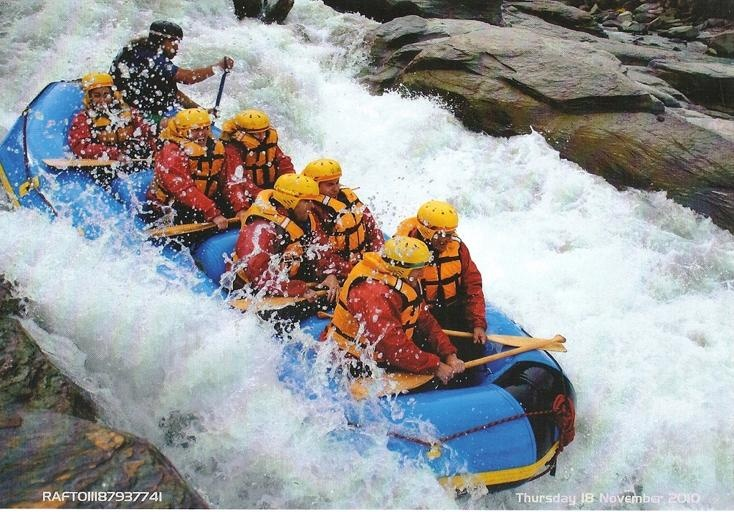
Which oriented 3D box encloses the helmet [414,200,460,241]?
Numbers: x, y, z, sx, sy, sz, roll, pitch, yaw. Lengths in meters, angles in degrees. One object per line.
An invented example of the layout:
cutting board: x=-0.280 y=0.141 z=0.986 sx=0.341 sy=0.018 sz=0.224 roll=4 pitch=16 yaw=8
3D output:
helmet: x=0.775 y=-0.457 z=8.584 sx=0.371 sy=0.355 sz=0.458 roll=-23 pitch=43 yaw=-37

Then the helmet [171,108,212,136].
helmet: x=-2.077 y=-1.612 z=9.202 sx=0.432 sy=0.305 sz=0.309 roll=2 pitch=26 yaw=1

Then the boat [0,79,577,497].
boat: x=-1.191 y=0.233 z=9.038 sx=6.993 sy=1.606 sz=3.408 roll=35 pitch=18 yaw=13

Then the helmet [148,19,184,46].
helmet: x=-2.666 y=-2.895 z=10.113 sx=0.378 sy=0.202 sz=0.292 roll=25 pitch=40 yaw=30

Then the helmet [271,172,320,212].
helmet: x=-0.814 y=-0.709 z=8.565 sx=0.459 sy=0.314 sz=0.357 roll=3 pitch=18 yaw=-3

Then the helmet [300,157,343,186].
helmet: x=-0.540 y=-0.971 z=9.005 sx=0.369 sy=0.258 sz=0.285 roll=-1 pitch=17 yaw=40

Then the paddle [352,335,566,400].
paddle: x=0.941 y=1.211 z=8.223 sx=1.708 sy=0.112 sz=0.431 roll=-12 pitch=37 yaw=-11

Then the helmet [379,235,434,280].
helmet: x=0.400 y=-0.026 z=7.960 sx=0.499 sy=0.380 sz=0.368 roll=22 pitch=47 yaw=12

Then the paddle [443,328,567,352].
paddle: x=1.505 y=0.953 z=8.696 sx=1.314 sy=0.178 sz=0.183 roll=4 pitch=33 yaw=12
